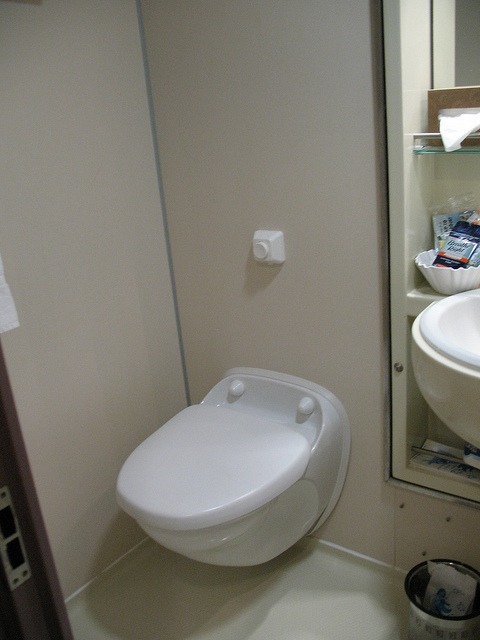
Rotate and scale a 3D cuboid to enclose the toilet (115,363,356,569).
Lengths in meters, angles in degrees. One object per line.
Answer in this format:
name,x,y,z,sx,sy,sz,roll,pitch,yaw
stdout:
toilet,-0.031,0.305,1.205,0.383,0.299,0.480,15,22,39
